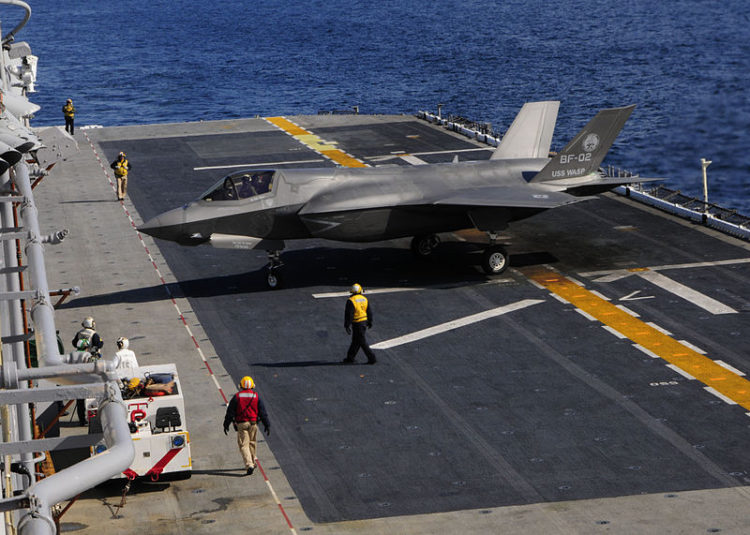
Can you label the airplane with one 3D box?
[{"bbox_3d":[1.294,-2.944,31.649,18.468,2.772,10.385,-4,13,-15],"label":"airplane"}]
